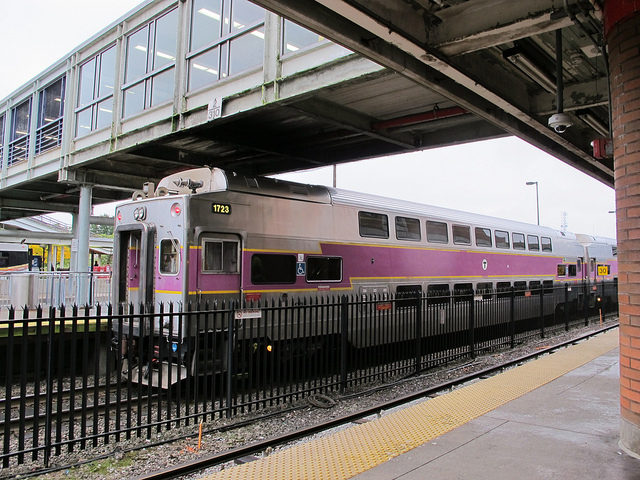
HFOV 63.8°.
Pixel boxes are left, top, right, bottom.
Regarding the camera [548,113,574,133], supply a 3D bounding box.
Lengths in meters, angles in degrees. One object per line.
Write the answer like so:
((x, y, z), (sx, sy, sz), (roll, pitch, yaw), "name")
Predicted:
((4.420, -2.149, 9.442), (0.426, 0.352, 0.442), (1, -7, -1), "camera")
